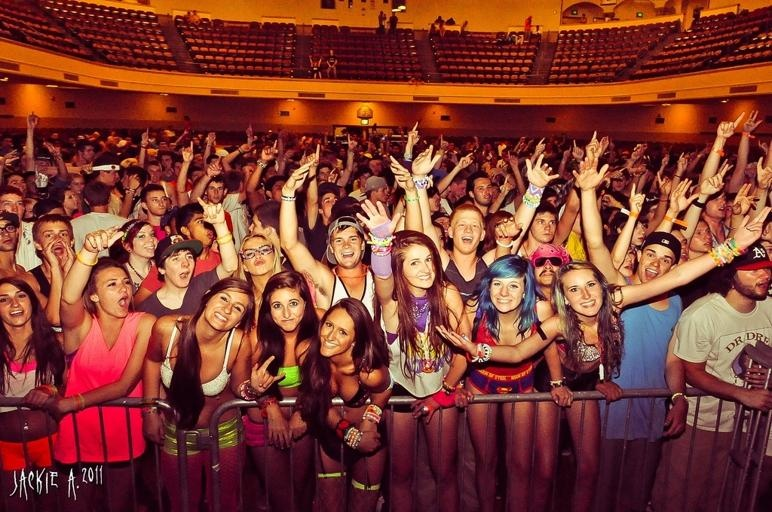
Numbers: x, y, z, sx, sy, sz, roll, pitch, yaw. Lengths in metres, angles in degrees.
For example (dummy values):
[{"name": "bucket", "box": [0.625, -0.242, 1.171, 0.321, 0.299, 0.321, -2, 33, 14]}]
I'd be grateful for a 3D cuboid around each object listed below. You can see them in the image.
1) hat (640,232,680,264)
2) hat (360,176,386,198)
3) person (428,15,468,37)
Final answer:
[{"name": "hat", "box": [2.362, -0.112, 4.333, 0.272, 0.273, 0.162, 14, 46, 33]}, {"name": "hat", "box": [-0.156, -0.874, 6.729, 0.344, 0.268, 0.250, -23, 24, 12]}, {"name": "person", "box": [3.301, -12.017, 26.611, 1.507, 0.586, 1.394, -1, 50, -6]}]
